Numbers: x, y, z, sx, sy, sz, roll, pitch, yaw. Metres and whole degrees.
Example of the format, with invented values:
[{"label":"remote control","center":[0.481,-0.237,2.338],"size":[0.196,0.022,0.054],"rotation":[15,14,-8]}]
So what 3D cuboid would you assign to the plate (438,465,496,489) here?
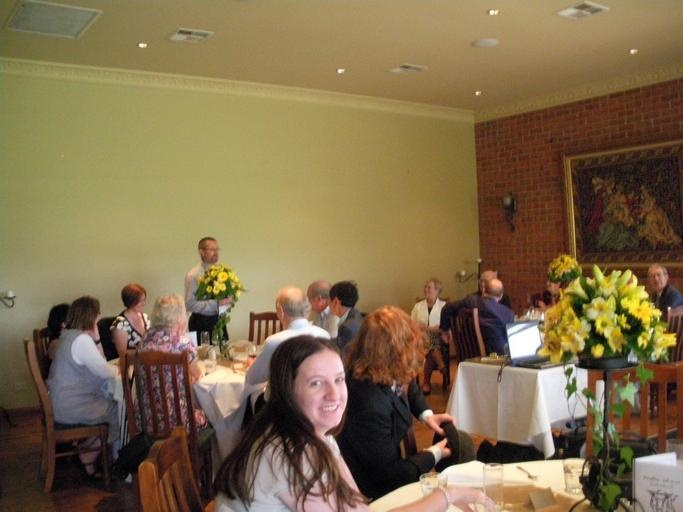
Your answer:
[{"label":"plate","center":[0.506,0.890,2.161],"size":[0.135,0.046,0.142],"rotation":[0,-2,-17]}]

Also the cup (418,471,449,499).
[{"label":"cup","center":[0.336,0.854,2.016],"size":[0.077,0.082,0.092],"rotation":[-2,-13,9]}]

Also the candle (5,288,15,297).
[{"label":"candle","center":[-3.731,0.419,6.035],"size":[0.066,0.085,0.072],"rotation":[0,3,-21]}]

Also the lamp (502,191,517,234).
[{"label":"lamp","center":[2.742,-0.721,8.844],"size":[0.286,0.621,0.199],"rotation":[-3,-5,39]}]

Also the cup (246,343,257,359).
[{"label":"cup","center":[-0.784,0.826,4.626],"size":[0.078,0.134,0.079],"rotation":[0,2,0]}]

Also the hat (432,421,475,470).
[{"label":"hat","center":[0.589,1.009,2.904],"size":[0.187,0.267,0.190],"rotation":[-11,14,-40]}]
